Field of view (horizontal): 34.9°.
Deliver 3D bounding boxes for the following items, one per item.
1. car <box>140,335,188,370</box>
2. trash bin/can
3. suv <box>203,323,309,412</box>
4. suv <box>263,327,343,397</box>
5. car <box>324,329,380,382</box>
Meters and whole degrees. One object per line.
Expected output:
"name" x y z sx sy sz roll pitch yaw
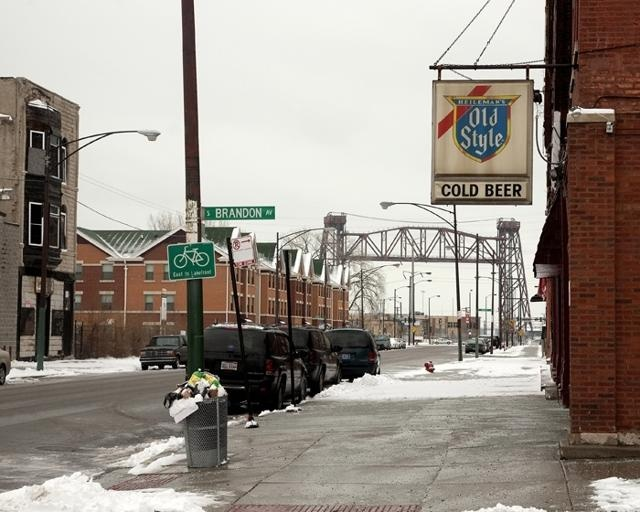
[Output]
"car" -7.034 4.580 48.085 1.891 1.674 3.870 -3 -7 6
"trash bin/can" -1.714 2.603 15.276 0.772 1.009 0.732 -4 0 -3
"suv" -1.532 2.660 24.235 1.962 1.997 4.457 1 -5 13
"suv" -0.345 2.934 28.940 1.720 1.825 3.967 0 -4 13
"car" 1.132 3.116 32.553 1.197 1.374 3.062 -1 -3 8
